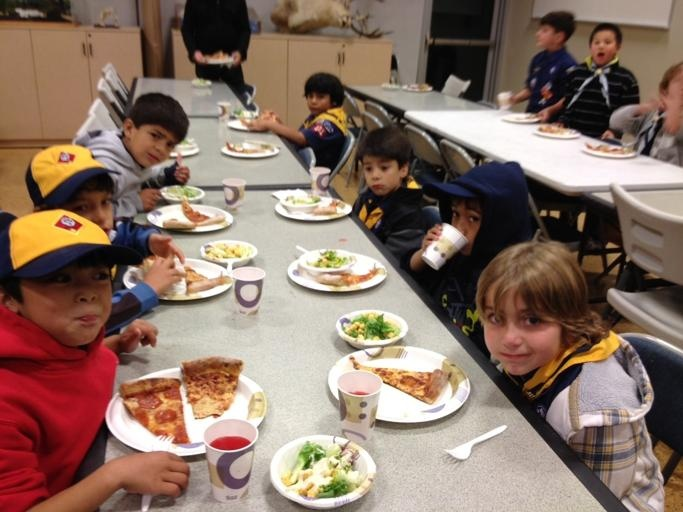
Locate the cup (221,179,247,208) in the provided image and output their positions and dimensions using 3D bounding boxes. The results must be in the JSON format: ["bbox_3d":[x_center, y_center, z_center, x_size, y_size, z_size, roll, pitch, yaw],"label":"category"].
[{"bbox_3d":[-0.442,-0.258,2.176,0.109,0.116,0.110,3,33,-2],"label":"cup"}]

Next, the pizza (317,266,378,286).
[{"bbox_3d":[0.020,0.059,1.678,0.220,0.081,0.065,-3,22,-13],"label":"pizza"}]

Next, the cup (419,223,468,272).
[{"bbox_3d":[0.320,-0.036,1.722,0.146,0.141,0.141,-2,73,6],"label":"cup"}]

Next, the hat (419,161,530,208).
[{"bbox_3d":[0.516,-0.260,1.851,0.266,0.117,0.190,-4,15,-16],"label":"hat"}]

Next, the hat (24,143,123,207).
[{"bbox_3d":[-0.773,-0.210,1.485,0.219,0.118,0.167,-4,27,41],"label":"hat"}]

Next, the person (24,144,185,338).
[{"bbox_3d":[-0.741,-0.104,1.650,0.734,0.375,0.411,30,32,30],"label":"person"}]

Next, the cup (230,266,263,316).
[{"bbox_3d":[-0.257,0.095,1.518,0.112,0.123,0.117,2,26,-1],"label":"cup"}]

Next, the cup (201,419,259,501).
[{"bbox_3d":[-0.192,0.370,1.009,0.131,0.150,0.137,1,18,0],"label":"cup"}]

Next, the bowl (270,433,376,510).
[{"bbox_3d":[-0.036,0.411,0.991,0.197,0.058,0.127,6,25,10],"label":"bowl"}]

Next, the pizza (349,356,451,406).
[{"bbox_3d":[0.160,0.303,1.271,0.209,0.037,0.102,16,40,23],"label":"pizza"}]

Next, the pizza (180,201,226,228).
[{"bbox_3d":[-0.545,-0.152,1.996,0.126,0.043,0.112,30,20,28],"label":"pizza"}]
